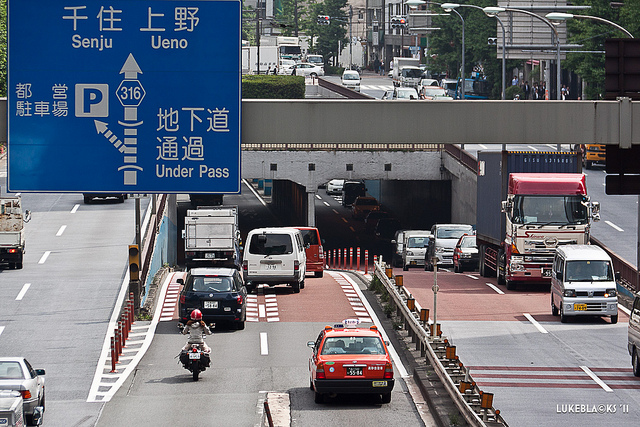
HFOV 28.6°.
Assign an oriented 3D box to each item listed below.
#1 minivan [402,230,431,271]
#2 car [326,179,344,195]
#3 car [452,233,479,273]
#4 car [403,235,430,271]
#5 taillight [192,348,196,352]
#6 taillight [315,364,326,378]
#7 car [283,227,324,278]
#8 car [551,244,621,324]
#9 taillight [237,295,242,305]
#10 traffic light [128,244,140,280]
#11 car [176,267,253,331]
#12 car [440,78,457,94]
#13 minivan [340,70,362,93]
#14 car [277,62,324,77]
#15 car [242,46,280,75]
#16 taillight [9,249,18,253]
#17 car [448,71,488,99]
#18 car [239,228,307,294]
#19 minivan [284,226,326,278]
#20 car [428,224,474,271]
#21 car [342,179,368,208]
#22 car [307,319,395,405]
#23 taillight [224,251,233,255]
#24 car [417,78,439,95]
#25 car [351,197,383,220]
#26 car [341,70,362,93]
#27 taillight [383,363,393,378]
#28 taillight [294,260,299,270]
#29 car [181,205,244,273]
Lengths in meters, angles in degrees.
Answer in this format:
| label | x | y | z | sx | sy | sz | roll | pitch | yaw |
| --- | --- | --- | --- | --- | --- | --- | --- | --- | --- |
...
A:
| label | x | y | z | sx | sy | sz | roll | pitch | yaw |
| --- | --- | --- | --- | --- | --- | --- | --- | --- | --- |
| minivan | 5.004 | 1.756 | 66.362 | 1.166 | 1.258 | 2.178 | -1 | -1 | -3 |
| car | 1.435 | -2.305 | 116.425 | 1.353 | 1.546 | 2.979 | -2 | 10 | -5 |
| car | 7.291 | 1.561 | 62.364 | 1.001 | 1.255 | 2.508 | 5 | 18 | -12 |
| car | 5.207 | 2.076 | 66.821 | 1.614 | 1.998 | 3.433 | 1 | -4 | -5 |
| taillight | -3.913 | 4.259 | 39.097 | 0.100 | 0.104 | 0.077 | -3 | 10 | -8 |
| taillight | 0.028 | 4.553 | 36.070 | 0.284 | 0.393 | 0.390 | 0 | 1 | -1 |
| car | -0.452 | 1.570 | 57.897 | 1.241 | 1.296 | 2.151 | 0 | 10 | 0 |
| car | 10.427 | 2.664 | 49.379 | 2.147 | 2.755 | 4.691 | -1 | 3 | 4 |
| taillight | -2.851 | 3.092 | 44.855 | 0.232 | 0.477 | 0.264 | 2 | 4 | 5 |
| traffic light | -6.987 | 1.799 | 47.181 | 0.351 | 1.352 | 0.763 | -3 | 10 | -9 |
| car | -3.911 | 3.084 | 46.859 | 2.570 | 2.165 | 4.694 | -1 | -13 | -2 |
| car | 11.189 | -11.036 | 107.960 | 0.982 | 1.006 | 1.759 | -1 | 2 | -6 |
| minivan | 3.124 | -13.101 | 123.655 | 1.748 | 1.821 | 3.333 | -1 | 1 | -4 |
| car | -1.589 | -15.070 | 132.388 | 4.863 | 1.383 | 2.581 | -7 | 12 | -27 |
| car | -4.898 | -15.093 | 126.930 | 5.307 | 3.468 | 2.901 | 3 | 9 | 38 |
| taillight | -13.789 | 1.683 | 56.400 | 0.188 | 0.192 | 0.049 | 7 | -1 | -7 |
| car | 12.449 | -10.631 | 104.935 | 3.201 | 1.919 | 4.258 | 0 | 11 | 7 |
| car | -1.808 | 1.837 | 53.480 | 2.555 | 2.500 | 4.692 | 0 | 4 | 7 |
| minivan | -0.352 | 1.769 | 57.640 | 1.292 | 2.307 | 1.944 | 3 | -3 | -10 |
| car | 6.960 | 1.754 | 65.330 | 2.312 | 2.511 | 4.498 | 0 | -4 | -2 |
| car | 2.927 | -2.077 | 106.123 | 1.808 | 2.255 | 3.829 | 0 | 17 | -5 |
| car | 1.002 | 4.378 | 37.213 | 2.386 | 2.153 | 3.513 | 1 | 0 | -4 |
| taillight | -4.008 | 1.734 | 55.165 | 0.256 | 0.146 | 0.064 | 5 | -3 | 1 |
| car | 9.927 | -11.840 | 114.422 | 1.766 | 1.691 | 3.040 | 0 | 2 | -1 |
| car | 3.476 | -0.352 | 93.933 | 1.555 | 1.307 | 3.368 | 0 | -2 | -5 |
| car | 3.131 | -13.147 | 123.605 | 1.669 | 1.746 | 3.219 | -1 | 1 | -4 |
| taillight | 2.000 | 4.509 | 36.155 | 0.149 | 0.453 | 0.394 | 6 | 12 | 37 |
| taillight | -0.938 | 2.089 | 51.238 | 0.063 | 0.409 | 0.250 | 8 | 13 | 43 |
| car | -4.949 | 1.390 | 57.116 | 2.399 | 2.985 | 4.749 | 0 | -4 | -1 |
